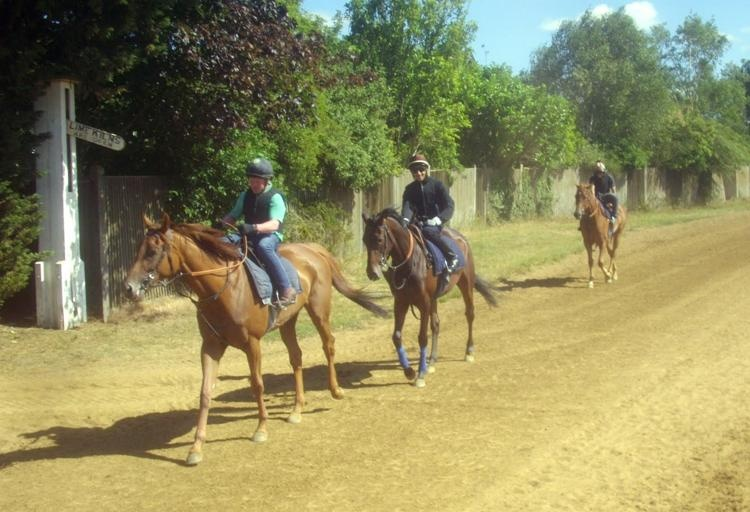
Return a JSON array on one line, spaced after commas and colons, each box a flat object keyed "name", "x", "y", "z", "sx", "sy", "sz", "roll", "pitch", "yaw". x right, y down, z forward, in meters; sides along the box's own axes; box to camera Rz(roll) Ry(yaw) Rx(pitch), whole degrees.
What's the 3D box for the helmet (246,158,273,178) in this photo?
[{"name": "helmet", "x": -2.072, "y": -1.550, "z": 15.141, "sx": 0.395, "sy": 0.219, "sz": 0.332, "roll": 15, "pitch": 13, "yaw": 12}]
